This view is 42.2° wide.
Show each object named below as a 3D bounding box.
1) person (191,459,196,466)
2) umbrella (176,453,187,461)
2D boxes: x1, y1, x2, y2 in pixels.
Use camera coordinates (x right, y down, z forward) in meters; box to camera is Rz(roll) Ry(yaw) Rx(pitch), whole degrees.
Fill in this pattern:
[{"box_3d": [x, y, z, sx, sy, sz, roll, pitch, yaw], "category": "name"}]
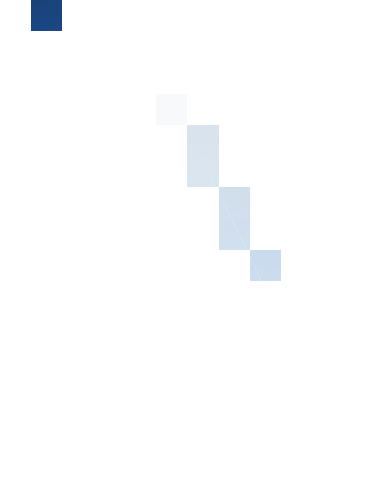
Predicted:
[{"box_3d": [0.725, 22.283, 50.679, 0.433, 0.438, 1.003, 11, -10, 5], "category": "person"}, {"box_3d": [-0.645, 25.459, 60.038, 1.328, 0.669, 3.371, 11, -10, 4], "category": "umbrella"}]
